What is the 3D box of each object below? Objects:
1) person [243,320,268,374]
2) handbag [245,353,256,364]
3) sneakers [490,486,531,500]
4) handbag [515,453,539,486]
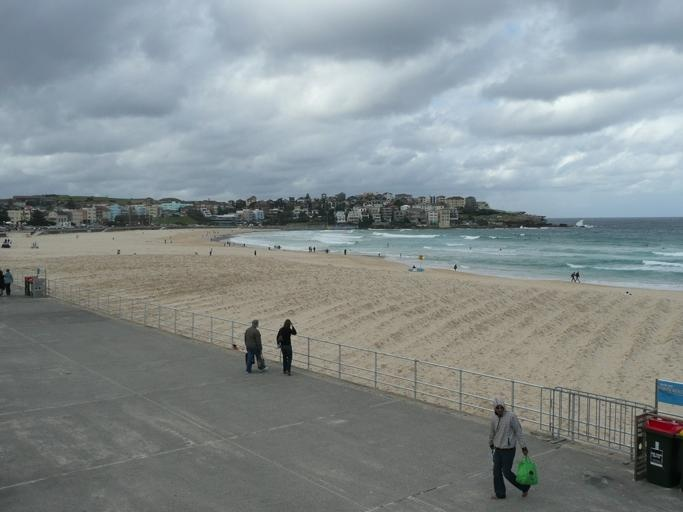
[{"bbox_3d":[-2.311,2.364,14.384,0.550,1.545,1.080,0,10,-9],"label":"person"},{"bbox_3d":[-2.394,2.680,14.102,0.216,0.376,0.304,-1,11,-15],"label":"handbag"},{"bbox_3d":[2.738,3.862,8.678,0.680,0.232,0.188,6,-10,-16],"label":"sneakers"},{"bbox_3d":[3.006,3.545,8.619,0.302,0.602,0.472,5,11,18],"label":"handbag"}]
